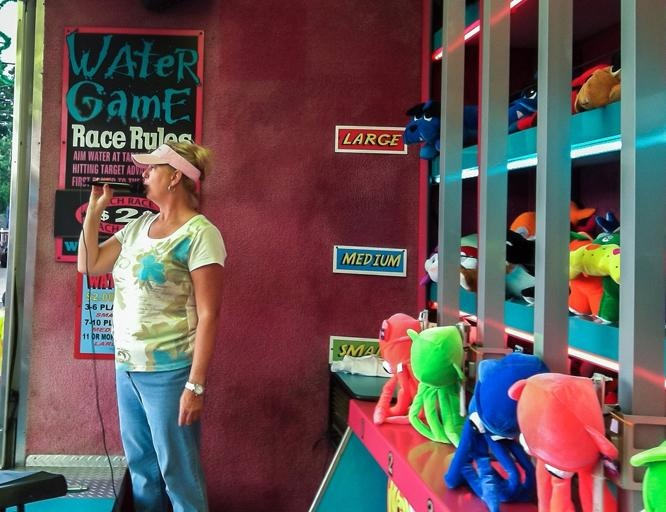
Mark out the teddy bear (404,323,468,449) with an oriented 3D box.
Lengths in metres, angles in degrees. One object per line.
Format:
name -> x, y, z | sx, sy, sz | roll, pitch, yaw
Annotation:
teddy bear -> 0.357, 0.454, 2.123 | 0.239, 0.400, 0.189 | 4, 12, 38

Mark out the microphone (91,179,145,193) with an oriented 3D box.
microphone -> -0.986, -0.316, 2.771 | 0.213, 0.066, 0.062 | 7, 18, 4

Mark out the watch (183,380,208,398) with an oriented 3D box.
watch -> -0.542, 0.521, 2.393 | 0.069, 0.049, 0.074 | -1, -22, 26

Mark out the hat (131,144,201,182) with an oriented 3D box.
hat -> -0.706, -0.394, 2.585 | 0.234, 0.099, 0.148 | 23, 3, -13

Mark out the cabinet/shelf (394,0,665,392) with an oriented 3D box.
cabinet/shelf -> 0.678, -0.355, 2.181 | 0.335, 1.409, 1.069 | -1, 1, -15
